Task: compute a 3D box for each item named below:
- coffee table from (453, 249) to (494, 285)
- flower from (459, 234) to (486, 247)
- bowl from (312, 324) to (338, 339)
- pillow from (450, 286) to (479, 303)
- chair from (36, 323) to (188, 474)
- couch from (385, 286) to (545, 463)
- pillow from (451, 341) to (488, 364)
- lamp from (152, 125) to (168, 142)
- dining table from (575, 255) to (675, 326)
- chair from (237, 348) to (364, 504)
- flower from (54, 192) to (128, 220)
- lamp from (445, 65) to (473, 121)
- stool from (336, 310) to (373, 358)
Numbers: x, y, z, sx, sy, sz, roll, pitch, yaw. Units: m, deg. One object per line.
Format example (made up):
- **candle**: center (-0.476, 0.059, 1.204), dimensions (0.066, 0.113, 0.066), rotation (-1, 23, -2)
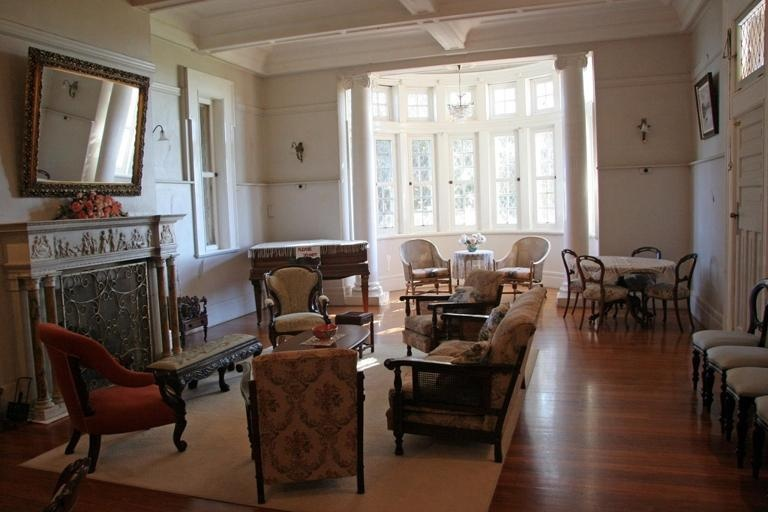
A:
- **coffee table**: center (1.620, 0.226, 10.396), dimensions (0.722, 0.518, 0.706), rotation (0, -2, 3)
- **flower**: center (1.651, -0.290, 10.589), dimensions (0.385, 0.276, 0.504), rotation (-2, 12, 1)
- **bowl**: center (-0.657, 0.832, 6.278), dimensions (0.253, 0.135, 0.230), rotation (-5, 12, -11)
- **pillow**: center (0.974, 0.477, 6.879), dimensions (0.212, 0.066, 0.224), rotation (-7, 33, 32)
- **chair**: center (-2.622, 1.308, 5.473), dimensions (1.014, 1.211, 1.175), rotation (-3, -3, 37)
- **couch**: center (0.826, 0.678, 5.479), dimensions (1.295, 1.141, 2.228), rotation (1, 3, 18)
- **pillow**: center (0.775, 0.839, 5.003), dimensions (0.327, 0.184, 0.128), rotation (-2, 12, -1)
- **lamp**: center (-3.323, -1.833, 8.394), dimensions (0.178, 0.254, 0.290), rotation (-5, 13, -13)
- **dining table**: center (3.551, 0.453, 8.434), dimensions (1.121, 0.852, 1.195), rotation (0, 5, 22)
- **chair**: center (-0.602, 1.277, 4.909), dimensions (1.152, 1.328, 1.118), rotation (-2, 9, -4)
- **flower**: center (-3.432, -0.574, 6.617), dimensions (0.415, 0.182, 0.422), rotation (-2, 0, 39)
- **lamp**: center (1.555, -3.299, 11.358), dimensions (0.447, 1.039, 1.333), rotation (0, 12, 9)
- **stool**: center (-0.326, 1.027, 7.614), dimensions (0.487, 0.683, 0.540), rotation (-1, -2, 18)
